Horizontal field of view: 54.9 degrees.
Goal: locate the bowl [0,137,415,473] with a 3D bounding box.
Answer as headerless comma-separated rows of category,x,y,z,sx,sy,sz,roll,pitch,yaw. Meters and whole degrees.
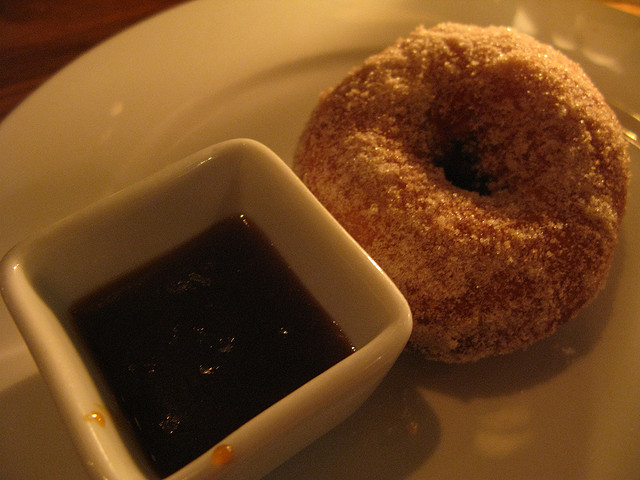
bowl,-0.189,0.125,1.039,0.544,0.308,0.618,-25,63,-18
